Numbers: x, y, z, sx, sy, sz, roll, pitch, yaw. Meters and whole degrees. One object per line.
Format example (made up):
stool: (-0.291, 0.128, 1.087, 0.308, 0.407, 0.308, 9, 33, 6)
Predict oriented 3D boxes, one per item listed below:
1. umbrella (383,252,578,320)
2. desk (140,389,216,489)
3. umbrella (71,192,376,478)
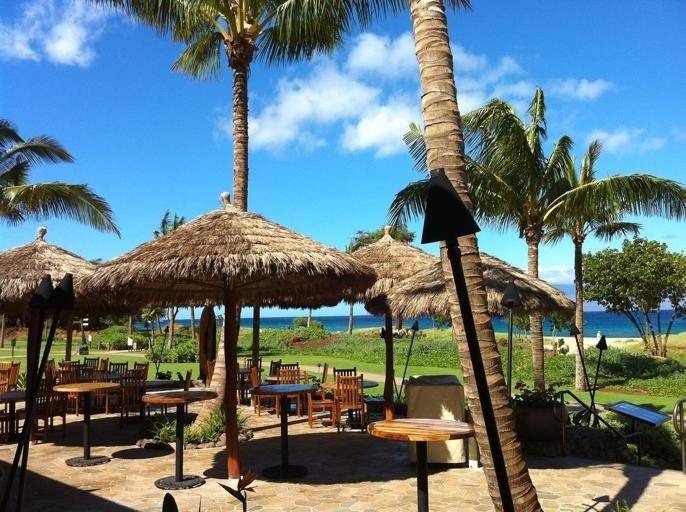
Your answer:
umbrella: (2.706, 0.753, 11.921, 2.429, 1.118, 2.452, 7, -15, -36)
desk: (-3.003, 3.236, 10.795, 1.425, 1.721, 1.436, -2, -4, 1)
umbrella: (-2.107, 0.663, 11.742, 5.241, 4.956, 5.365, 6, -13, -34)
